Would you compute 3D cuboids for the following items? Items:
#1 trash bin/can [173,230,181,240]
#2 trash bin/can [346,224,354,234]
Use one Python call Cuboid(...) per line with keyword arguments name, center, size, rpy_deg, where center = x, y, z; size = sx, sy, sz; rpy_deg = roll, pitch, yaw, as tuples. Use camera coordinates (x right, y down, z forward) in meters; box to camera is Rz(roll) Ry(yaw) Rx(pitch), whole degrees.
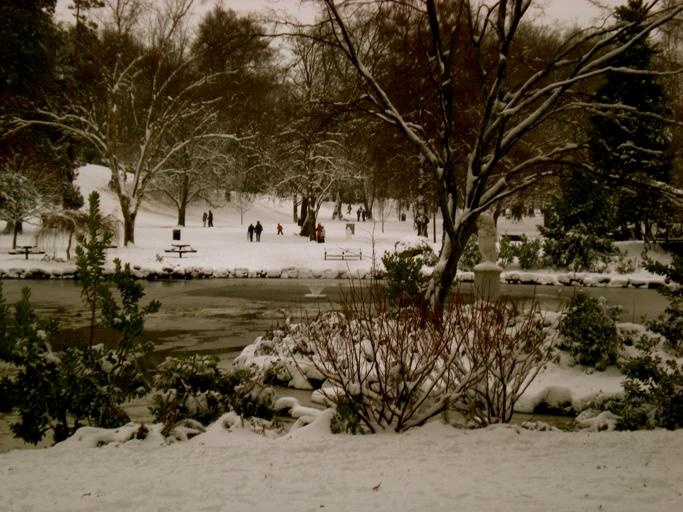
Cuboid(name="trash bin/can", center=(-8.908, -1.122, 42.111), size=(0.311, 0.630, 0.480), rpy_deg=(0, 6, 0))
Cuboid(name="trash bin/can", center=(0.508, -1.550, 46.802), size=(0.463, 0.745, 1.438), rpy_deg=(-1, 8, -4))
